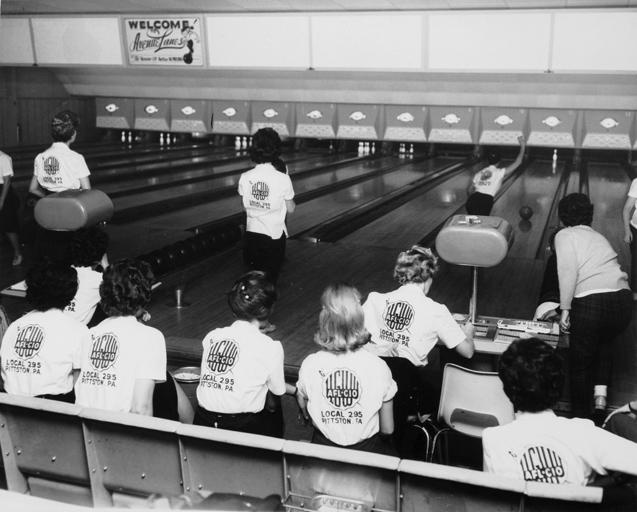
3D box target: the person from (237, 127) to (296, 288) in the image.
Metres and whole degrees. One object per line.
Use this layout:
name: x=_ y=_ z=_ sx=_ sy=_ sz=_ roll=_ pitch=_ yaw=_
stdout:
person: x=-0.314 y=-0.280 z=3.098 sx=0.323 sy=0.967 sz=0.261 roll=-1 pitch=10 yaw=-6

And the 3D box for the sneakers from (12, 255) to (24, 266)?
sneakers: x=-2.439 y=0.039 z=4.097 sx=0.056 sy=0.047 sz=0.112 roll=1 pitch=14 yaw=-5
